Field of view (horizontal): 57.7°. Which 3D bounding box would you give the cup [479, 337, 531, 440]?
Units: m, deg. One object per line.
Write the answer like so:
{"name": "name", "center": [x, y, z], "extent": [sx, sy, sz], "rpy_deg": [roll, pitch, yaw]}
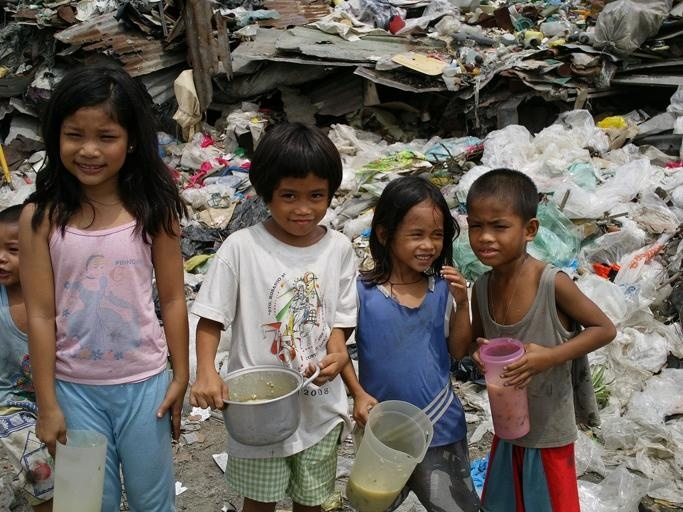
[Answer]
{"name": "cup", "center": [0.718, 0.587, 2.723], "extent": [0.243, 0.457, 0.140], "rpy_deg": [5, 18, 12]}

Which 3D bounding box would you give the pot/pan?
{"name": "pot/pan", "center": [-0.281, 0.599, 2.566], "extent": [0.404, 0.246, 0.306], "rpy_deg": [2, 4, -4]}
